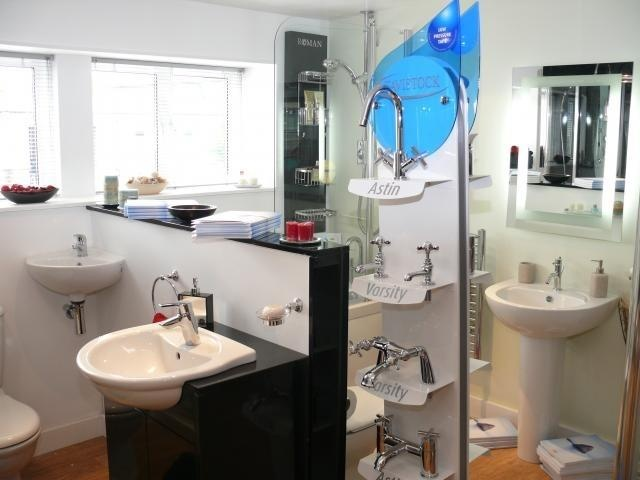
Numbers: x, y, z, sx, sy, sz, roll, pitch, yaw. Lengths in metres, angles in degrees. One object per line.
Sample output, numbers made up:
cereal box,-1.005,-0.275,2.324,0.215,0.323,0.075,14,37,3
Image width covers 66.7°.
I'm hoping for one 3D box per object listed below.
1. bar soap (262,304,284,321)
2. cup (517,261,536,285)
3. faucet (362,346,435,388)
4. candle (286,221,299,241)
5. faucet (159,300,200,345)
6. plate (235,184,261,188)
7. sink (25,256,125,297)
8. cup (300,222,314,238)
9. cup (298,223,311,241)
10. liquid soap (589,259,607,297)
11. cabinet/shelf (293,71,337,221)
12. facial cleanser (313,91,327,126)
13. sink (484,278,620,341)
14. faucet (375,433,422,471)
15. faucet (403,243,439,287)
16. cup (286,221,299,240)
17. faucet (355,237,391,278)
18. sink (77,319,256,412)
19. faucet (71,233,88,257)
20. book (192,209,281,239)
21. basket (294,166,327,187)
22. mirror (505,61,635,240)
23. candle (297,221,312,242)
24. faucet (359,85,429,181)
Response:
bar soap,-0.201,0.282,2.024,0.097,0.045,0.172,-2,12,-5
cup,0.759,0.120,1.787,0.072,0.084,0.073,1,1,0
faucet,0.303,0.500,1.837,0.313,0.161,0.066,-11,13,-27
candle,-0.123,-0.040,2.110,0.068,0.079,0.068,7,9,34
faucet,-0.583,0.344,2.056,0.174,0.238,0.079,-19,30,-40
plate,-0.608,-0.460,4.144,0.204,0.033,0.111,-5,12,-21
sink,-1.502,0.227,2.983,0.576,0.253,0.277,1,12,9
cup,-0.064,-0.048,2.091,0.061,0.071,0.062,0,8,0
cup,-0.064,-0.038,2.133,0.066,0.077,0.068,0,5,0
liquid soap,0.980,0.136,1.708,0.061,0.134,0.020,-3,12,-8
cabinet/shelf,-0.021,-0.594,3.065,0.350,0.940,0.124,9,15,41
facial cleanser,0.003,-0.835,3.044,0.096,0.205,0.028,6,13,30
sink,0.821,0.292,1.862,0.315,0.168,0.451,-7,8,-19
faucet,0.307,0.859,1.945,0.181,0.053,0.258,-12,-5,-33
faucet,0.379,0.087,1.824,0.104,0.151,0.130,5,13,28
cup,-0.123,-0.040,2.110,0.063,0.075,0.068,2,7,0
faucet,0.205,0.075,1.973,0.178,0.176,0.108,-13,15,-38
sink,-0.707,0.503,2.023,0.448,0.141,0.501,-6,13,-39
faucet,-1.543,0.023,3.119,0.090,0.133,0.210,-7,13,-26
book,-0.386,-0.074,2.328,0.343,0.106,0.316,1,12,11
basket,-0.069,-0.421,3.108,0.146,0.097,0.137,-4,13,-29
mirror,0.936,-0.339,1.829,0.419,0.637,0.271,3,12,19
candle,-0.063,-0.040,2.133,0.069,0.081,0.071,1,6,4
faucet,0.255,-0.394,1.813,0.237,0.355,0.234,-9,15,-18
